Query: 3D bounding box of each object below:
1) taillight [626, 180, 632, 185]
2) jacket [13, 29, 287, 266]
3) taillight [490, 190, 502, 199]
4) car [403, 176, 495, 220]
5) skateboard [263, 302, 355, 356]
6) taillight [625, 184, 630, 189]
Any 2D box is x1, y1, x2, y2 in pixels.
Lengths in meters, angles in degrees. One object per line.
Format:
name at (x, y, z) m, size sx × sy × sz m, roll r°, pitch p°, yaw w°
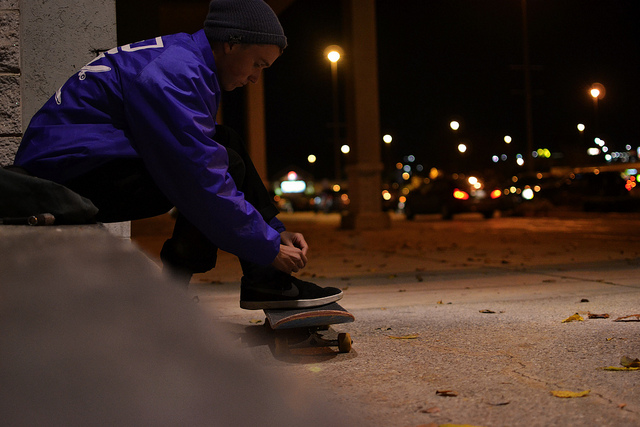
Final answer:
taillight at (8.730, -0.907, 19.967) m, size 0.022 × 0.127 × 0.209 m, roll 0°, pitch 1°, yaw -12°
jacket at (-0.791, -0.329, 3.708) m, size 1.078 × 0.849 × 1.104 m, roll 18°, pitch 10°, yaw -15°
taillight at (5.258, -0.590, 21.099) m, size 0.357 × 0.266 × 0.080 m, roll 0°, pitch 1°, yaw -28°
car at (4.154, -0.541, 22.227) m, size 1.155 × 0.924 × 2.568 m, roll 0°, pitch 4°, yaw -18°
skateboard at (-0.061, 0.652, 3.970) m, size 0.500 × 0.267 × 0.318 m, roll 1°, pitch 1°, yaw -6°
taillight at (8.715, -0.795, 20.078) m, size 0.097 × 0.026 × 0.104 m, roll 10°, pitch 31°, yaw 23°
